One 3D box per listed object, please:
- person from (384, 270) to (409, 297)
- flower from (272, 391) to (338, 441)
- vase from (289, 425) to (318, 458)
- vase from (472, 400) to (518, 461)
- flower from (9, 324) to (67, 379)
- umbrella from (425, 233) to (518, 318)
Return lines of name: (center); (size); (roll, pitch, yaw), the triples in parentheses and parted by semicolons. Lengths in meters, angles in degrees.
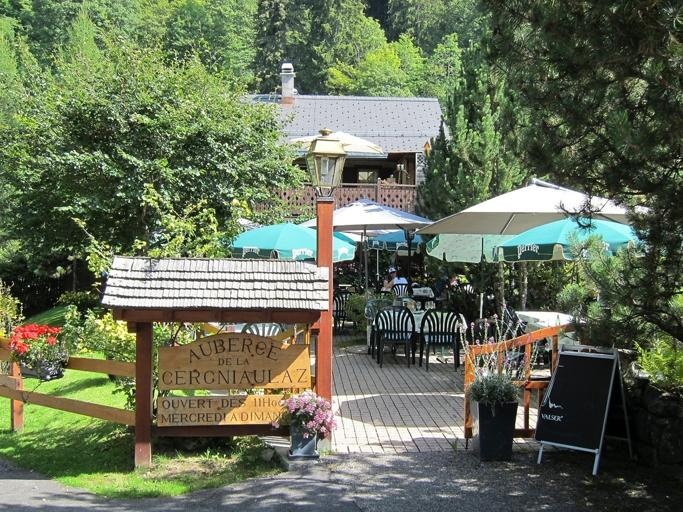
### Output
person: (1.248, 0.625, 16.415); (0.398, 0.655, 0.721); (0, -8, -5)
flower: (-0.594, 2.094, 9.477); (0.486, 0.487, 0.601); (-27, -30, 35)
vase: (-0.477, 2.313, 9.494); (0.348, 0.493, 0.358); (1, -4, -13)
vase: (1.983, 2.212, 9.486); (0.470, 0.757, 0.566); (-1, -6, 22)
flower: (-4.508, 1.453, 11.235); (0.653, 0.785, 0.585); (4, 3, -3)
umbrella: (3.016, 0.463, 16.902); (1.582, 1.749, 1.611); (0, -1, 7)
